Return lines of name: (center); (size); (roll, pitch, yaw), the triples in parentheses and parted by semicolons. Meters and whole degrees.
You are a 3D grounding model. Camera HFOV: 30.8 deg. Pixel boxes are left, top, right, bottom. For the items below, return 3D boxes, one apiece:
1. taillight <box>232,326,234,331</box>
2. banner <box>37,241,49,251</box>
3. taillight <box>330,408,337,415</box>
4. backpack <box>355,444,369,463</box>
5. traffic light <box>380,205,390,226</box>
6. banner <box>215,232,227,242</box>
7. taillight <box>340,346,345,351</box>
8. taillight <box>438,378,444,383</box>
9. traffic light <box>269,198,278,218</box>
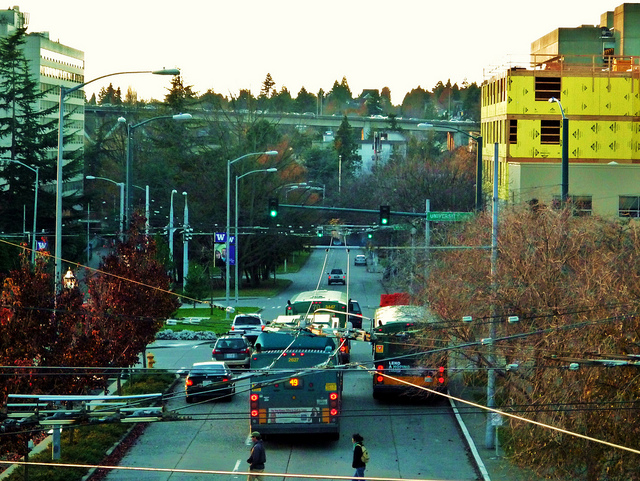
taillight: (-4.661, 4.629, 61.527); (0.113, 0.233, 0.126); (0, 42, 0)
banner: (-18.466, 0.297, 76.759); (0.392, 0.914, 0.828); (0, 0, 24)
taillight: (0.526, 6.725, 46.103); (0.276, 0.253, 0.032); (-1, 2, -4)
backpack: (1.650, 7.887, 43.300); (0.557, 0.656, 0.457); (-4, -3, 11)
traffic light: (3.461, -1.384, 62.072); (0.495, 0.974, 0.732); (0, 2, 8)
banner: (-6.613, -0.271, 76.636); (0.778, 0.546, 1.784); (-1, 1, -7)
taillight: (1.071, 4.988, 54.279); (0.066, 0.240, 0.216); (3, 4, 17)
taillight: (5.239, 5.963, 50.091); (0.213, 0.238, 0.051); (27, -9, -11)
traffic light: (-2.540, -1.836, 63.318); (0.379, 0.949, 1.265); (-1, 2, 1)
